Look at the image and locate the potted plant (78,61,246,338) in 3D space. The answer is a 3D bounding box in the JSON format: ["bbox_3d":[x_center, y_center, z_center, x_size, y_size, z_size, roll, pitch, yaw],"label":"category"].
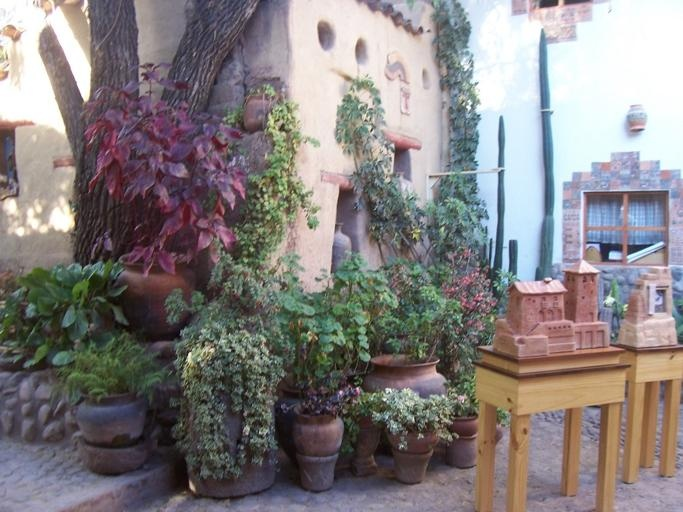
[{"bbox_3d":[-1.559,-0.598,4.949,1.526,2.697,1.037,-1,1,31],"label":"potted plant"}]

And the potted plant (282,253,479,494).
[{"bbox_3d":[0.056,0.853,5.262,2.044,2.508,1.655,2,-6,-15],"label":"potted plant"}]

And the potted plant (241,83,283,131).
[{"bbox_3d":[-0.786,-1.494,5.297,0.174,0.520,0.344,20,-10,-34],"label":"potted plant"}]

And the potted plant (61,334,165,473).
[{"bbox_3d":[-1.715,1.170,4.761,0.941,1.229,0.907,2,-6,-17],"label":"potted plant"}]
